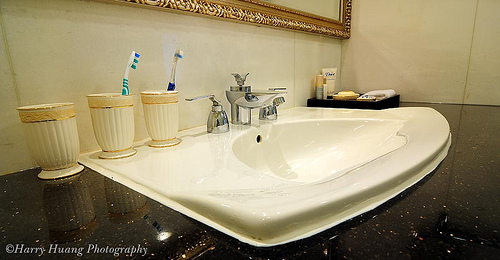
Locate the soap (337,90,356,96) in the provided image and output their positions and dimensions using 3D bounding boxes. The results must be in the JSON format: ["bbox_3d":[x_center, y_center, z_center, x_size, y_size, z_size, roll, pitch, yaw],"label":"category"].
[{"bbox_3d":[0.616,-0.234,1.810,0.100,0.021,0.091,1,7,32],"label":"soap"}]

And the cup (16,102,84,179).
[{"bbox_3d":[-0.627,0.037,0.904,0.150,0.230,0.090,-7,21,-21],"label":"cup"}]
